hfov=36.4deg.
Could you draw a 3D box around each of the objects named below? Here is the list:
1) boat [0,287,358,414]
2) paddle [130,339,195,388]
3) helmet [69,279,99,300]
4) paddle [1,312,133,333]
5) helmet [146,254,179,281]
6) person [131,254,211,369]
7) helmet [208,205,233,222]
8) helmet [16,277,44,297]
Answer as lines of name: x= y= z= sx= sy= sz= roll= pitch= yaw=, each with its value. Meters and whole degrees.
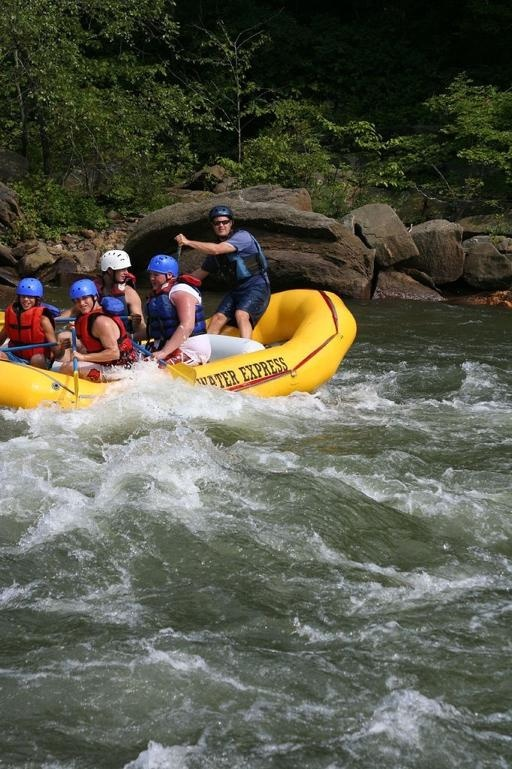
boat: x=-0.394 y=-0.216 z=6.060 sx=2.855 sy=0.592 sz=1.325 roll=-7 pitch=13 yaw=-39
paddle: x=-0.690 y=-0.191 z=5.825 sx=0.525 sy=0.096 sz=0.276 roll=22 pitch=28 yaw=-22
helmet: x=-1.239 y=-0.676 z=5.559 sx=0.144 sy=0.131 sz=0.177 roll=-7 pitch=-15 yaw=21
paddle: x=-1.328 y=-0.518 z=6.286 sx=0.494 sy=0.092 sz=0.711 roll=2 pitch=-6 yaw=12
helmet: x=-0.696 y=-0.914 z=6.035 sx=0.240 sy=0.163 sz=0.180 roll=-11 pitch=28 yaw=-29
person: x=-0.633 y=-0.630 z=6.358 sx=0.849 sy=1.108 sz=0.856 roll=-3 pitch=10 yaw=-7
helmet: x=-0.309 y=-1.485 z=6.712 sx=0.154 sy=0.129 sz=0.195 roll=-1 pitch=15 yaw=4
helmet: x=-1.735 y=-0.737 z=5.913 sx=0.164 sy=0.145 sz=0.198 roll=4 pitch=-9 yaw=4
